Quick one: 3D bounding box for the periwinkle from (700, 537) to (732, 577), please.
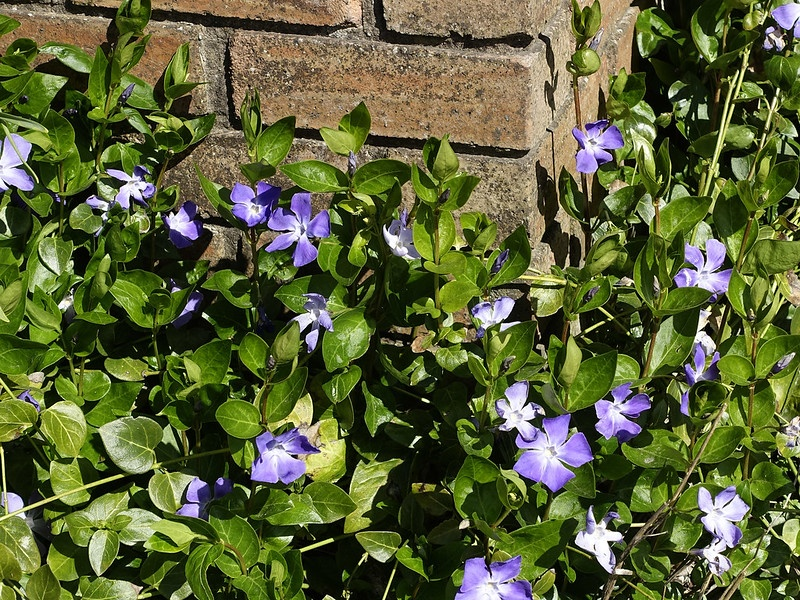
[{"bbox_3d":[0.602,0.492,1.801,0.056,0.076,0.026,19,-23,-8],"label":"periwinkle"}]

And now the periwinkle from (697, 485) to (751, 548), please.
[{"bbox_3d":[0.606,0.398,1.773,0.090,0.121,0.037,23,-15,-14],"label":"periwinkle"}]

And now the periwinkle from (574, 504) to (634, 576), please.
[{"bbox_3d":[0.382,0.439,1.772,0.041,0.135,0.098,-2,-5,41],"label":"periwinkle"}]
